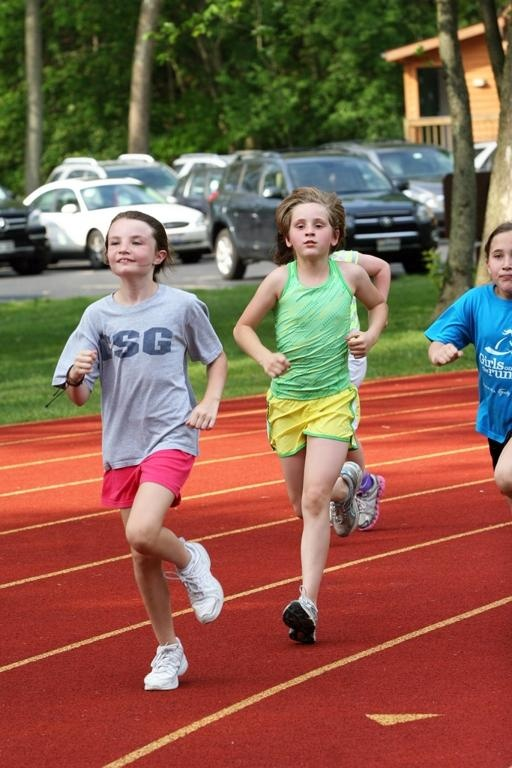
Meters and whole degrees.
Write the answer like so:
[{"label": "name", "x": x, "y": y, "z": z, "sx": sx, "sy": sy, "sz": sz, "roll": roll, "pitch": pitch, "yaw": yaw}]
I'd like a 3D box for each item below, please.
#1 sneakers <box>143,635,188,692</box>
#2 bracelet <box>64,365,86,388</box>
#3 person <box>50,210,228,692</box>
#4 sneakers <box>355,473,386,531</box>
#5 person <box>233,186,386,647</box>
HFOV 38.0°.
[{"label": "sneakers", "x": -0.269, "y": 0.860, "z": 2.313, "sx": 0.082, "sy": 0.085, "sz": 0.200, "roll": -6, "pitch": 4, "yaw": 11}, {"label": "bracelet", "x": -0.548, "y": -0.021, "z": 2.244, "sx": 0.056, "sy": 0.067, "sz": 0.037, "roll": 10, "pitch": 15, "yaw": -9}, {"label": "person", "x": -0.294, "y": 0.205, "z": 2.293, "sx": 0.579, "sy": 1.512, "sz": 0.491, "roll": -1, "pitch": -1, "yaw": -28}, {"label": "sneakers", "x": 0.617, "y": 0.674, "z": 4.316, "sx": 0.137, "sy": 0.341, "sz": 0.176, "roll": 13, "pitch": 9, "yaw": 36}, {"label": "person", "x": 0.214, "y": 0.089, "z": 2.949, "sx": 0.590, "sy": 1.199, "sz": 0.881, "roll": -2, "pitch": -1, "yaw": 10}]
